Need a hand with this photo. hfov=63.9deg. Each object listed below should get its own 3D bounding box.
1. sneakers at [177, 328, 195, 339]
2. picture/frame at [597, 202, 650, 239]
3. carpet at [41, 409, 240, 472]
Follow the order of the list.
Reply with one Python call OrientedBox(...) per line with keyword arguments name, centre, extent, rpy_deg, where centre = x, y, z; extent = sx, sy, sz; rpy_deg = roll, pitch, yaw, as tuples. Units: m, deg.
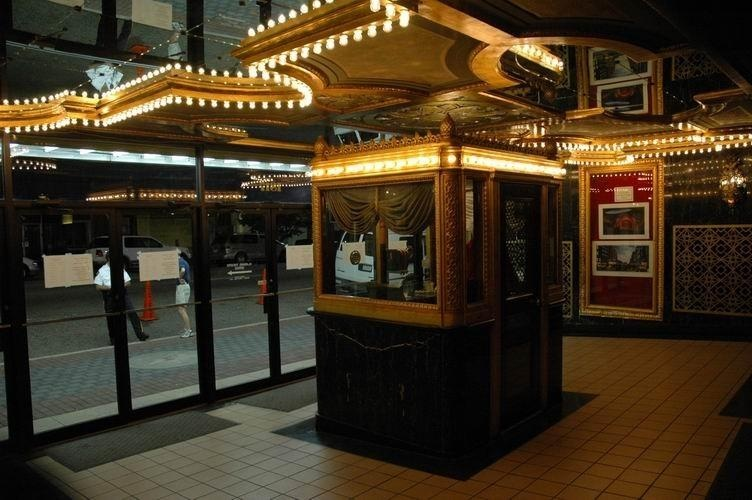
OrientedBox(name="sneakers", centre=(-3.100, 1.348, 9.795), extent=(0.141, 0.119, 0.322), rpy_deg=(-1, -6, 13))
OrientedBox(name="picture/frame", centre=(5.229, -0.623, 12.530), extent=(0.963, 0.646, 0.032), rpy_deg=(1, 4, 30))
OrientedBox(name="carpet", centre=(-3.187, 2.505, 8.034), extent=(2.097, 0.034, 0.967), rpy_deg=(-8, 11, -36))
